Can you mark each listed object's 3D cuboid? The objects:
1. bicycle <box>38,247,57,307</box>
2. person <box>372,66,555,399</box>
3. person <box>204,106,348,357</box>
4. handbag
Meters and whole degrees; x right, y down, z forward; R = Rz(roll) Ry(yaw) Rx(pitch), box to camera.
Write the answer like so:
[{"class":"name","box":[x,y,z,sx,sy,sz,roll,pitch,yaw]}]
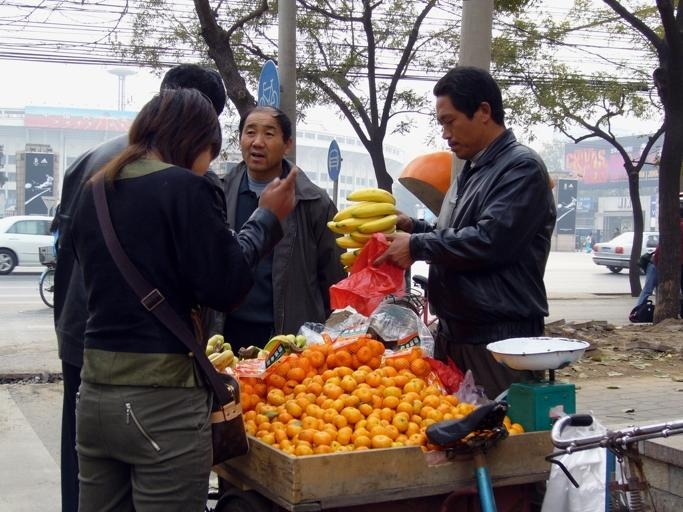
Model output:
[{"class":"bicycle","box":[-6.450,0.430,15.839,0.317,1.244,3.608,-3,4,-23]},{"class":"person","box":[0.750,-0.093,4.331,0.875,2.300,0.845,0,0,-19]},{"class":"person","box":[-0.576,0.192,5.148,1.060,2.431,0.799,3,11,2]},{"class":"handbag","box":[-0.517,0.721,3.390,0.256,0.374,0.291,-5,12,-29]}]
